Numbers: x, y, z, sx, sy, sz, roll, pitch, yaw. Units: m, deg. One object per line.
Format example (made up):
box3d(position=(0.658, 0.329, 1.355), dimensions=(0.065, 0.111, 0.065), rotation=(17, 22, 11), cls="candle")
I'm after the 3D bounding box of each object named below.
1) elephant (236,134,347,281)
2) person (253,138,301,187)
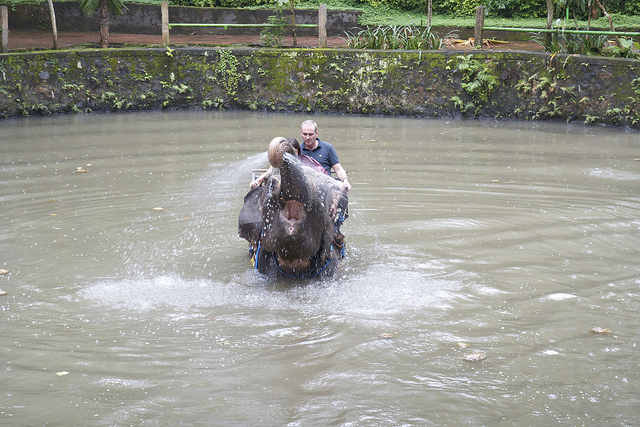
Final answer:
box3d(position=(-0.383, 0.087, 11.850), dimensions=(1.302, 1.312, 2.371), rotation=(-1, -4, -2), cls="elephant")
box3d(position=(-0.541, -0.705, 12.074), dimensions=(0.588, 0.738, 0.332), rotation=(6, 10, 1), cls="person")
